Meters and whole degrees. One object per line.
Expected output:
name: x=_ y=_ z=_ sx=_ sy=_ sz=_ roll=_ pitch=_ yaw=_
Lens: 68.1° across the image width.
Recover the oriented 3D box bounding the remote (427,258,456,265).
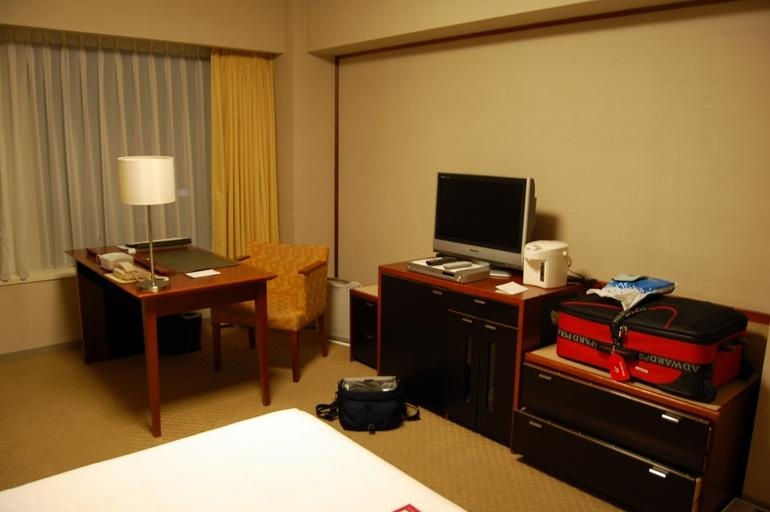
remote: x=0.446 y=0.034 z=4.541 sx=0.160 sy=0.033 sz=0.087 roll=-4 pitch=9 yaw=-34

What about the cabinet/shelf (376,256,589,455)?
cabinet/shelf: x=0.740 y=0.693 z=4.695 sx=0.775 sy=1.074 sz=1.467 roll=-7 pitch=12 yaw=-39

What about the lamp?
lamp: x=-1.739 y=-0.260 z=4.169 sx=0.389 sy=0.929 sz=0.404 roll=3 pitch=13 yaw=16

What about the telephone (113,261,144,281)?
telephone: x=-1.962 y=0.106 z=4.330 sx=0.202 sy=0.072 sz=0.148 roll=16 pitch=16 yaw=43

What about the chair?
chair: x=-1.060 y=0.467 z=5.199 sx=1.002 sy=1.101 sz=1.011 roll=1 pitch=8 yaw=-6

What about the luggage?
luggage: x=1.838 y=0.349 z=3.685 sx=0.800 sy=0.437 sz=0.861 roll=-5 pitch=10 yaw=-38

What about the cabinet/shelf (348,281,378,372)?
cabinet/shelf: x=-0.145 y=0.660 z=5.202 sx=0.238 sy=0.694 sz=0.454 roll=-8 pitch=14 yaw=-30

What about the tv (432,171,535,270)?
tv: x=0.792 y=-0.279 z=4.462 sx=0.715 sy=0.613 sz=0.253 roll=9 pitch=11 yaw=38
